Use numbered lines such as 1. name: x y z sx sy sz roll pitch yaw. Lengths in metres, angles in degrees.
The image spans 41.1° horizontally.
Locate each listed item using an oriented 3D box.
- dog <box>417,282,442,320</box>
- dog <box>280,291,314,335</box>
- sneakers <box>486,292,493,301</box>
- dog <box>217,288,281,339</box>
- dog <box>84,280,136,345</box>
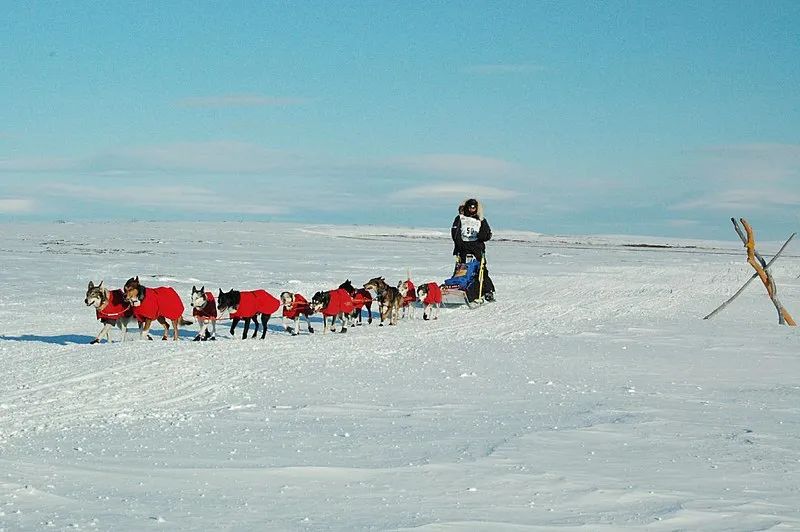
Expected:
1. dog: 0.655 0.847 25.983 0.509 0.861 1.467 2 4 19
2. dog: -2.351 1.022 24.284 0.730 0.936 2.075 0 3 -4
3. sneakers: 2.427 0.845 28.776 0.230 0.194 0.248 1 -8 -13
4. dog: -3.354 1.034 23.575 1.334 1.067 2.304 0 3 -5
5. dog: -5.932 0.972 21.687 0.957 1.164 0.697 -2 4 -31
